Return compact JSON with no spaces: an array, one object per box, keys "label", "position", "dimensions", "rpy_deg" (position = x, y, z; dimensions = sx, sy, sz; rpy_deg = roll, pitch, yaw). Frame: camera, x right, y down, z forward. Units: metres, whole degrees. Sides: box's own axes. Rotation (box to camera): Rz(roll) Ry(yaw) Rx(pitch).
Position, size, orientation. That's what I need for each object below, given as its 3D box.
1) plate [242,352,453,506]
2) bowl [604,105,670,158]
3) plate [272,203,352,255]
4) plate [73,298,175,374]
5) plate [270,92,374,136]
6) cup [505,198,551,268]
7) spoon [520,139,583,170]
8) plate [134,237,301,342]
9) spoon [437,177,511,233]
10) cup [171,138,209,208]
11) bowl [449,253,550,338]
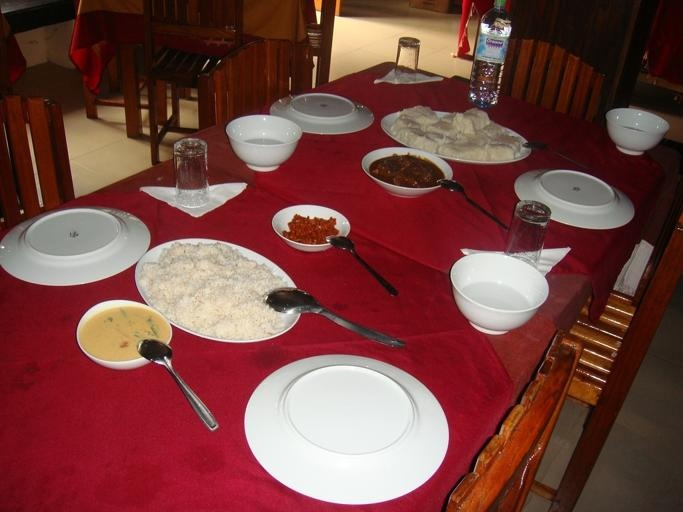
[{"label":"plate","position":[0.011,0.267,0.820],"dimensions":[0.305,0.064,0.267],"rpy_deg":[22,36,24]},{"label":"bowl","position":[0.963,-0.397,1.649],"dimensions":[0.184,0.107,0.190],"rpy_deg":[11,-6,1]},{"label":"plate","position":[-0.036,-0.038,1.233],"dimensions":[0.215,0.059,0.222],"rpy_deg":[20,1,13]},{"label":"plate","position":[-0.384,0.144,0.906],"dimensions":[0.137,0.055,0.129],"rpy_deg":[11,52,-13]},{"label":"plate","position":[-0.063,-0.475,1.668],"dimensions":[0.218,0.037,0.220],"rpy_deg":[-15,43,-20]},{"label":"cup","position":[0.434,-0.047,1.174],"dimensions":[0.102,0.167,0.103],"rpy_deg":[-3,31,2]},{"label":"spoon","position":[0.653,-0.315,1.583],"dimensions":[0.167,0.023,0.032],"rpy_deg":[42,72,18]},{"label":"plate","position":[-0.249,0.067,0.969],"dimensions":[0.261,0.046,0.198],"rpy_deg":[23,32,8]},{"label":"spoon","position":[0.349,-0.131,1.345],"dimensions":[0.029,0.024,0.207],"rpy_deg":[-39,70,-8]},{"label":"cup","position":[-0.377,-0.207,1.278],"dimensions":[0.084,0.143,0.086],"rpy_deg":[3,29,-2]},{"label":"bowl","position":[0.304,0.104,1.024],"dimensions":[0.164,0.084,0.166],"rpy_deg":[7,22,-3]}]
